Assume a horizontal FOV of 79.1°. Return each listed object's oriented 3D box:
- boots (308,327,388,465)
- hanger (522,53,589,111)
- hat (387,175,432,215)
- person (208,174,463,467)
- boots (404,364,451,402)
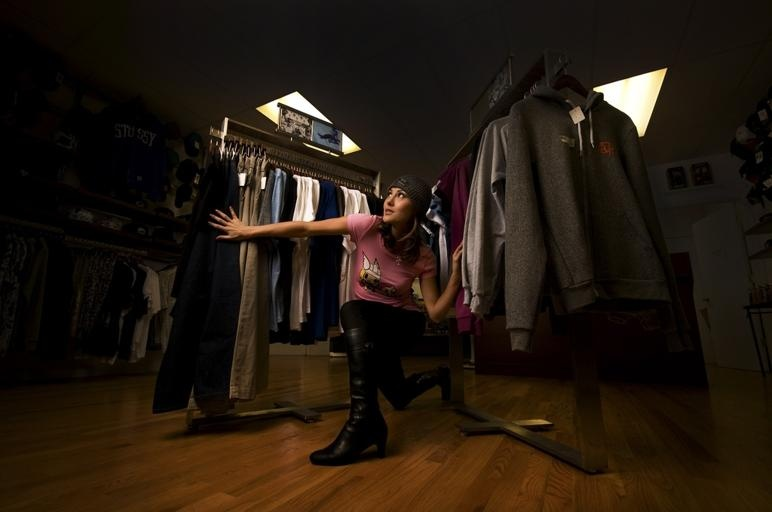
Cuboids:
[{"bbox_3d":[-0.180,0.779,2.587,0.351,0.660,0.369,2,8,19],"label":"boots"},{"bbox_3d":[1.098,-1.065,2.959,0.367,0.192,0.525,-1,9,7],"label":"hanger"},{"bbox_3d":[0.187,-0.397,3.078,0.209,0.233,0.277,9,-16,46],"label":"hat"},{"bbox_3d":[-0.175,0.324,2.869,1.273,1.586,0.858,-2,8,-12],"label":"person"},{"bbox_3d":[0.307,0.925,3.502,0.122,0.212,0.569,-25,6,-15],"label":"boots"}]
